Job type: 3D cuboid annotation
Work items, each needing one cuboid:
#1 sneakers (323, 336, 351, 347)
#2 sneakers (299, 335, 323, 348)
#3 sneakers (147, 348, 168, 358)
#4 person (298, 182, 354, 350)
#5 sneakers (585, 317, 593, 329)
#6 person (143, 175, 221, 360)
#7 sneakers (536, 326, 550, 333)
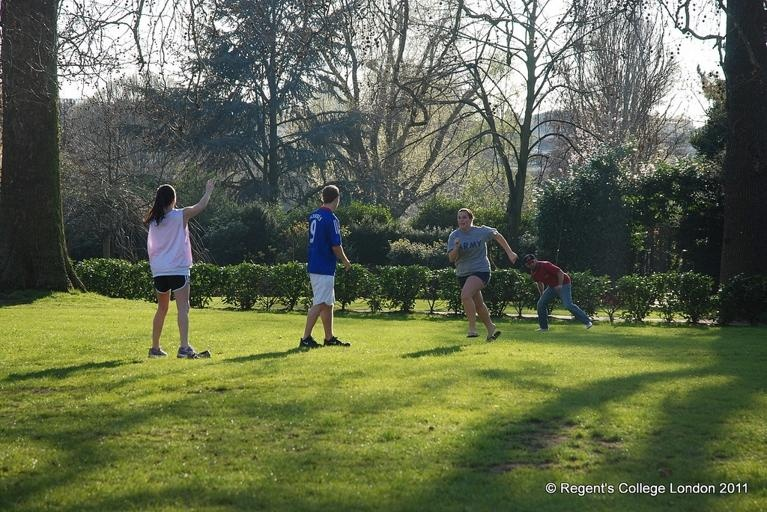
[{"bbox_3d":[-1.096,1.927,19.900,0.661,0.281,0.232,1,-1,-5],"label":"sneakers"},{"bbox_3d":[-1.663,1.913,19.630,0.542,0.261,0.216,2,-1,-7],"label":"sneakers"},{"bbox_3d":[-4.909,2.054,18.705,0.376,0.169,0.177,1,2,-15],"label":"sneakers"},{"bbox_3d":[-1.376,0.174,19.955,0.959,2.523,1.165,2,-1,-3],"label":"person"},{"bbox_3d":[5.762,1.850,24.240,0.208,0.282,0.644,0,0,10],"label":"sneakers"},{"bbox_3d":[-4.524,0.295,18.664,1.283,2.992,0.455,2,-1,5],"label":"person"},{"bbox_3d":[4.267,1.936,23.344,0.365,0.143,0.158,1,2,44],"label":"sneakers"}]
